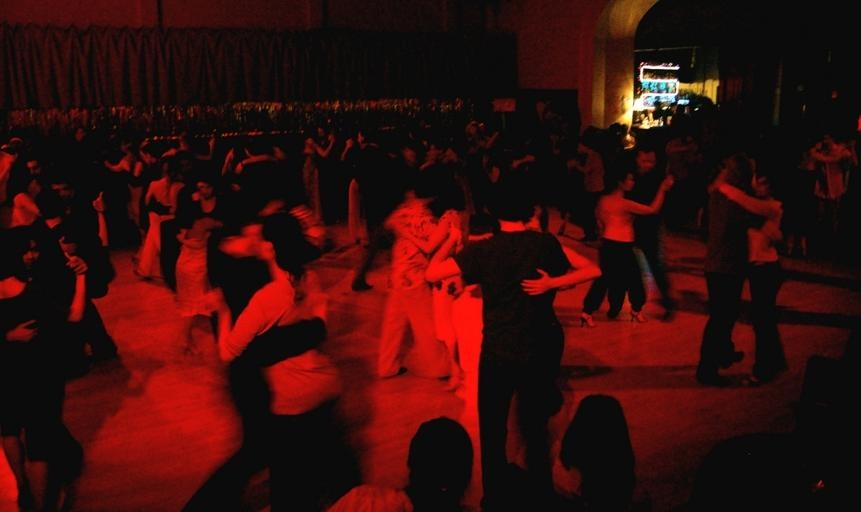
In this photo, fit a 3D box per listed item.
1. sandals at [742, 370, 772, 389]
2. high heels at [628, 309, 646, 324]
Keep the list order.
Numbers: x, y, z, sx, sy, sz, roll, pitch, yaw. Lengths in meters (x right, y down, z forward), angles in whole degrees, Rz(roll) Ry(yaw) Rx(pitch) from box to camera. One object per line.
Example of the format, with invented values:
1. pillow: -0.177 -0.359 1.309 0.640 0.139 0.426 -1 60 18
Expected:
1. sandals: 3.828 1.463 6.837 0.236 0.049 0.208 -8 13 -2
2. high heels: 2.779 0.817 7.866 0.267 0.187 0.112 -7 11 9
